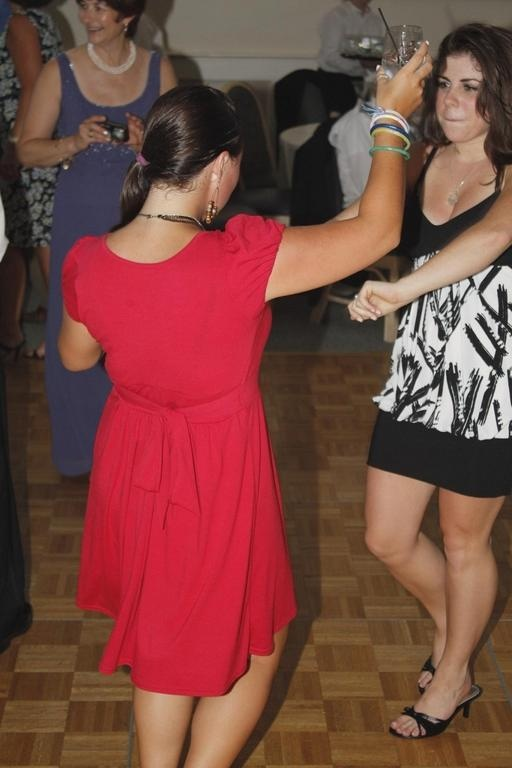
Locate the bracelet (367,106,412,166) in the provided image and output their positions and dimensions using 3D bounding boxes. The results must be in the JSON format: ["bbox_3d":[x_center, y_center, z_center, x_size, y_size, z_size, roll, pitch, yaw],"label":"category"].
[{"bbox_3d":[0.193,-0.366,0.961,0.081,0.086,0.043,-4,-3,33],"label":"bracelet"}]

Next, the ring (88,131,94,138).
[{"bbox_3d":[-0.494,-0.749,1.952,0.012,0.015,0.004,4,12,10],"label":"ring"}]

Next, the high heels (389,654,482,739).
[{"bbox_3d":[0.469,0.761,1.630,0.311,0.120,0.101,-2,14,-29],"label":"high heels"}]

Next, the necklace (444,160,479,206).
[{"bbox_3d":[0.423,-0.416,1.333,0.012,0.079,0.025,-5,43,-44],"label":"necklace"}]
